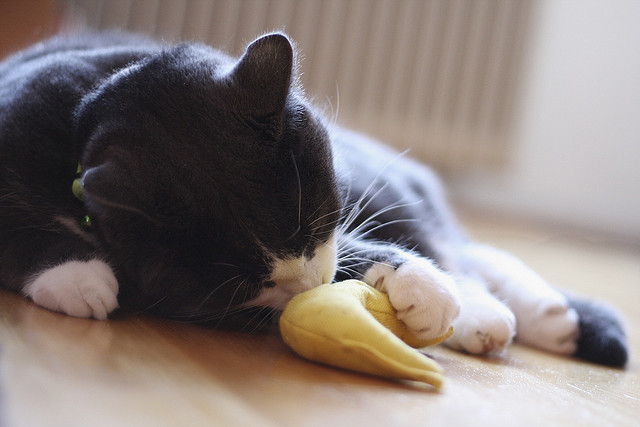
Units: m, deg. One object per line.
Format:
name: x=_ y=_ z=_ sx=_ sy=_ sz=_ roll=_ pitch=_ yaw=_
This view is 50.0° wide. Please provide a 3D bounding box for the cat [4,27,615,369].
cat: x=-0.068 y=-0.098 z=1.896 sx=1.632 sy=0.756 sz=0.794 roll=12 pitch=17 yaw=-5
